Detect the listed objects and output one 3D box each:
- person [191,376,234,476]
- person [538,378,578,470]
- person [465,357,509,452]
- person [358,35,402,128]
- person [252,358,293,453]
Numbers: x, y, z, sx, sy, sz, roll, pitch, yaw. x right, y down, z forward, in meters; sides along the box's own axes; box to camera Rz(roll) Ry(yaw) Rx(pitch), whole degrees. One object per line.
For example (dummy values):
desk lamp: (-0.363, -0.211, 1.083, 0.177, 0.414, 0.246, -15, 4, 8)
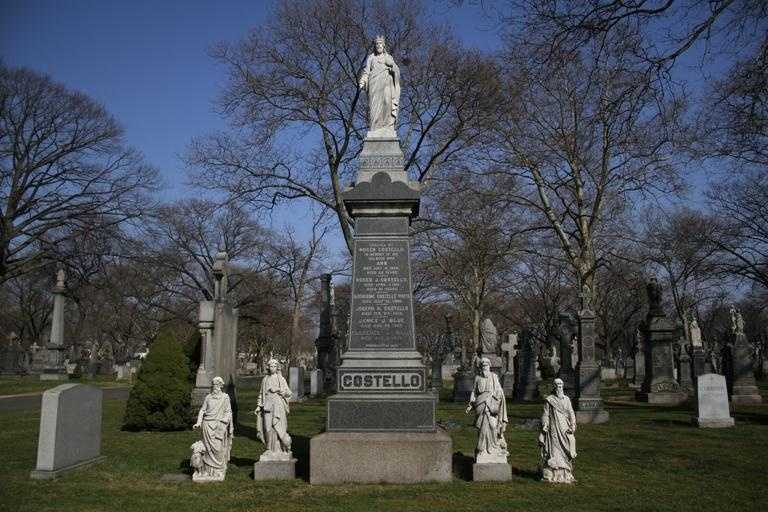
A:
person: (-4.426, 4.459, 17.560, 1.000, 2.664, 0.760, 1, -1, -17)
person: (4.509, 4.389, 17.693, 0.887, 2.390, 0.759, 0, -1, 13)
person: (2.707, 3.948, 17.721, 1.021, 2.684, 1.041, 0, -1, 9)
person: (-0.094, -5.025, 19.849, 1.091, 2.945, 0.897, 1, -1, -2)
person: (-2.874, 3.948, 17.811, 0.886, 2.607, 0.856, 1, -1, -9)
